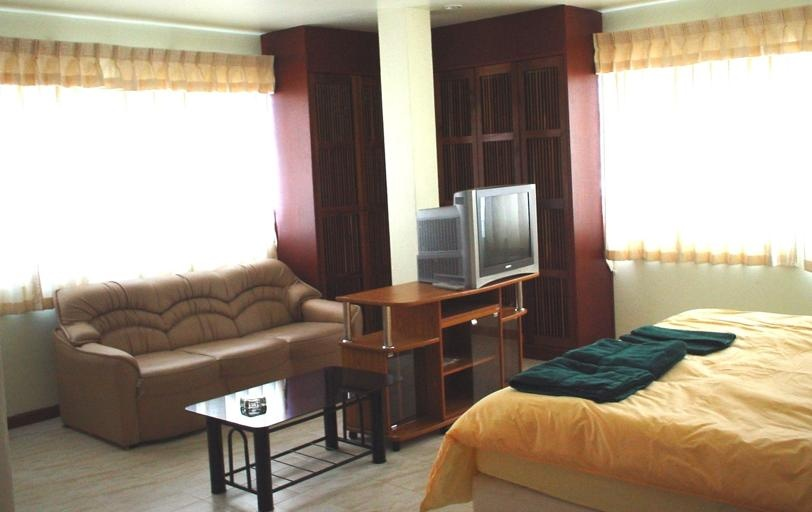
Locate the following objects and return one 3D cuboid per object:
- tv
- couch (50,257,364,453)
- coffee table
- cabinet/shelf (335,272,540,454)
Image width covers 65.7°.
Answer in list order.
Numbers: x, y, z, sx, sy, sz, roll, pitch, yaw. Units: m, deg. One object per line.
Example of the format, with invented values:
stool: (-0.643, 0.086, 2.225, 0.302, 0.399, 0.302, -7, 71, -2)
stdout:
tv: (0.682, -0.193, 5.864, 0.970, 0.746, 1.050, -3, 6, 30)
couch: (-1.893, 0.851, 6.375, 1.314, 1.187, 2.745, 9, 11, 35)
coffee table: (-0.877, 1.237, 4.792, 0.972, 0.734, 1.656, 8, 12, 37)
cabinet/shelf: (0.248, 0.886, 5.097, 0.633, 0.843, 1.514, 4, 9, 43)
